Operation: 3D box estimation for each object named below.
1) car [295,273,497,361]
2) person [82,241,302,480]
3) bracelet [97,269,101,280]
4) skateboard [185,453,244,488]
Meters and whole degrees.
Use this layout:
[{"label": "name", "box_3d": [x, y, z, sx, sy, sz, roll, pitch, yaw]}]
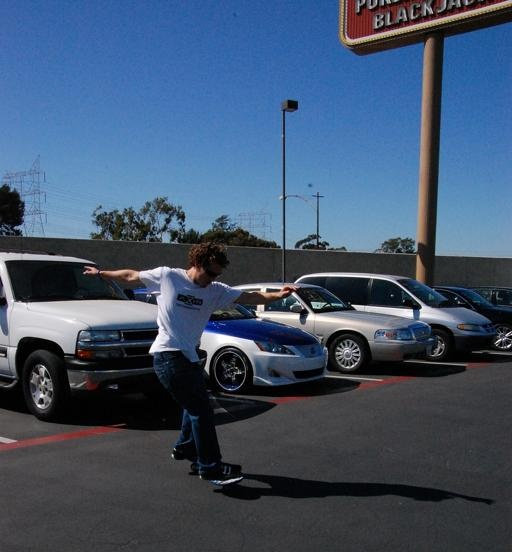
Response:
[{"label": "car", "box_3d": [3.217, 0.785, 11.782, 3.862, 1.415, 1.715, 0, 1, 20]}, {"label": "person", "box_3d": [-0.434, 0.626, 3.762, 1.166, 1.733, 0.344, 0, -3, 2]}, {"label": "bracelet", "box_3d": [-1.253, -0.021, 4.245, 0.020, 0.046, 0.055, 5, 18, -12]}, {"label": "skateboard", "box_3d": [-0.283, 1.401, 3.716, 0.285, 0.125, 0.226, 2, 2, 27]}]
